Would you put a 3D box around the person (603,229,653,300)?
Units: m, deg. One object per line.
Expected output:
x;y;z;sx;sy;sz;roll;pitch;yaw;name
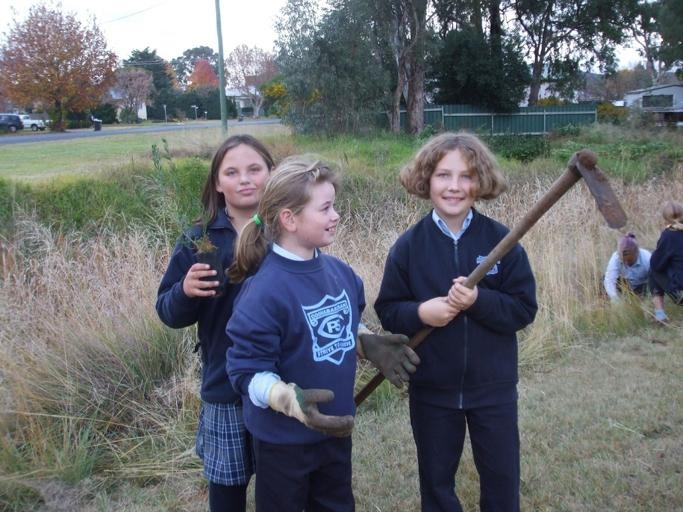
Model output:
3.710;0.084;8.179;0.384;0.863;1.009;3;13;34;person

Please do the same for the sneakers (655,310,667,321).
3.833;0.729;7.618;0.119;0.164;0.122;3;-7;-30;sneakers

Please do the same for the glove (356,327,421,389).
0.357;0.752;4.652;0.550;0.377;0.189;28;-1;26;glove
